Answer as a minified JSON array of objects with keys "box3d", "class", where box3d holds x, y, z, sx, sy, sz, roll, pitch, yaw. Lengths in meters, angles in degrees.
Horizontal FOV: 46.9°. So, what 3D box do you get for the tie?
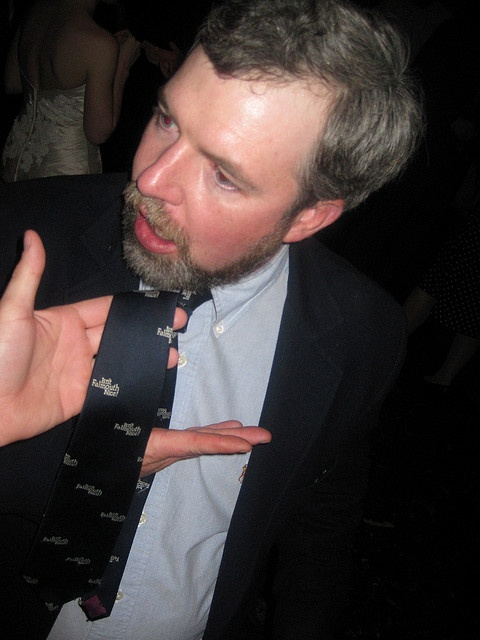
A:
[{"box3d":[-0.324,0.261,1.393,0.302,0.146,0.968,16,89,-20],"class":"tie"}]
